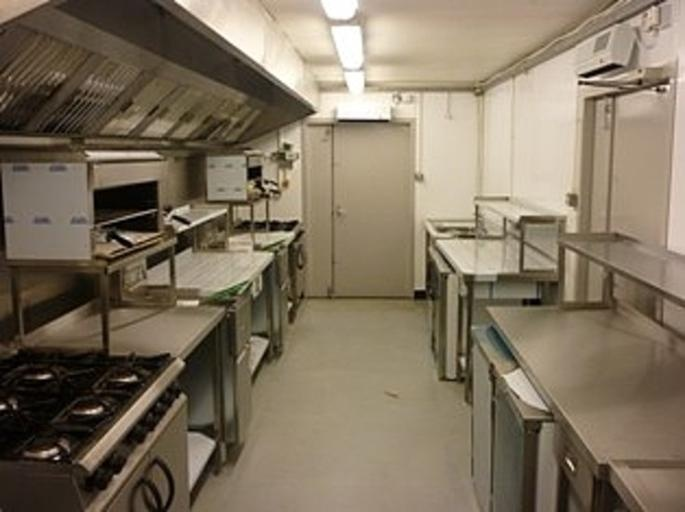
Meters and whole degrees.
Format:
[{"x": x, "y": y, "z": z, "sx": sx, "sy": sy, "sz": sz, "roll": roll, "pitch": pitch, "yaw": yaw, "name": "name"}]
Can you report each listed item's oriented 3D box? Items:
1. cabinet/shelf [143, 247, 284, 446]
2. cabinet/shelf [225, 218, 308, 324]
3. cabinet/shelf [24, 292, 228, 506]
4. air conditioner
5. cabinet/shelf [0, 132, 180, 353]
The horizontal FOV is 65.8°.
[{"x": -0.929, "y": 0.506, "z": 4.114, "sx": 0.814, "sy": 0.873, "sz": 2.294, "roll": -1, "pitch": 8, "yaw": 1, "name": "cabinet/shelf"}, {"x": -0.682, "y": 0.120, "z": 4.684, "sx": 0.327, "sy": 0.569, "sz": 1.082, "roll": -1, "pitch": 12, "yaw": -2, "name": "cabinet/shelf"}, {"x": -1.072, "y": 0.854, "z": 3.228, "sx": 0.781, "sy": 1.340, "sz": 1.404, "roll": 1, "pitch": 14, "yaw": -1, "name": "cabinet/shelf"}, {"x": 1.384, "y": -1.061, "z": 2.773, "sx": 0.208, "sy": 0.175, "sz": 0.272, "roll": 4, "pitch": 6, "yaw": -19, "name": "air conditioner"}, {"x": -1.189, "y": -0.087, "z": 2.533, "sx": 0.530, "sy": 0.944, "sz": 0.690, "roll": 1, "pitch": 13, "yaw": 6, "name": "cabinet/shelf"}]
